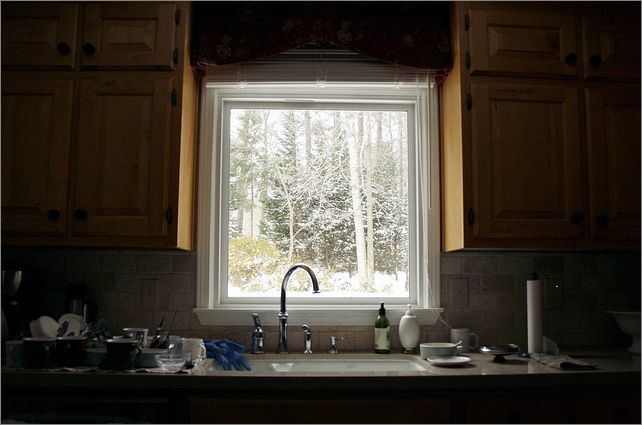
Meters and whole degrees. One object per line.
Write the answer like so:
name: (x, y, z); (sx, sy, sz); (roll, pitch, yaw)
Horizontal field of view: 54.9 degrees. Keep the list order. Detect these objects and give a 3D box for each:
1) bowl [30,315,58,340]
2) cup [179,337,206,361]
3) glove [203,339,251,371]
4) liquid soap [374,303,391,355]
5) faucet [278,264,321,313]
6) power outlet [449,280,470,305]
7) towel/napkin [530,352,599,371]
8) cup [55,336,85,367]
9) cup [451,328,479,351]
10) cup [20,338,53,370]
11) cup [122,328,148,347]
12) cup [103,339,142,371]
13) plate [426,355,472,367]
bowl: (-1.413, 0.587, 3.159); (0.133, 0.103, 0.150); (2, -4, -23)
cup: (-0.664, 0.718, 3.247); (0.139, 0.095, 0.089); (0, -4, 22)
glove: (-0.513, 0.774, 3.359); (0.196, 0.188, 0.076); (9, -39, -41)
liquid soap: (0.354, 0.667, 3.584); (0.096, 0.277, 0.137); (1, -4, 5)
faucet: (-0.132, 0.439, 3.526); (0.193, 0.298, 0.306); (2, -3, -8)
power outlet: (0.829, 0.479, 3.688); (0.129, 0.178, 0.030); (-6, -14, 41)
towel/napkin: (1.229, 0.773, 3.214); (0.202, 0.043, 0.342); (3, -4, -38)
cup: (-1.285, 0.724, 3.201); (0.156, 0.157, 0.237); (-1, -5, -11)
cup: (0.812, 0.720, 3.534); (0.187, 0.131, 0.100); (2, -8, -10)
cup: (-1.411, 0.706, 3.093); (0.171, 0.158, 0.217); (-5, -17, -4)
cup: (-0.954, 0.636, 3.221); (0.115, 0.109, 0.143); (-5, -12, 35)
cup: (-0.976, 0.707, 3.103); (0.205, 0.154, 0.163); (4, 2, 31)
plate: (0.667, 0.780, 3.259); (0.227, 0.043, 0.157); (1, -3, 7)
